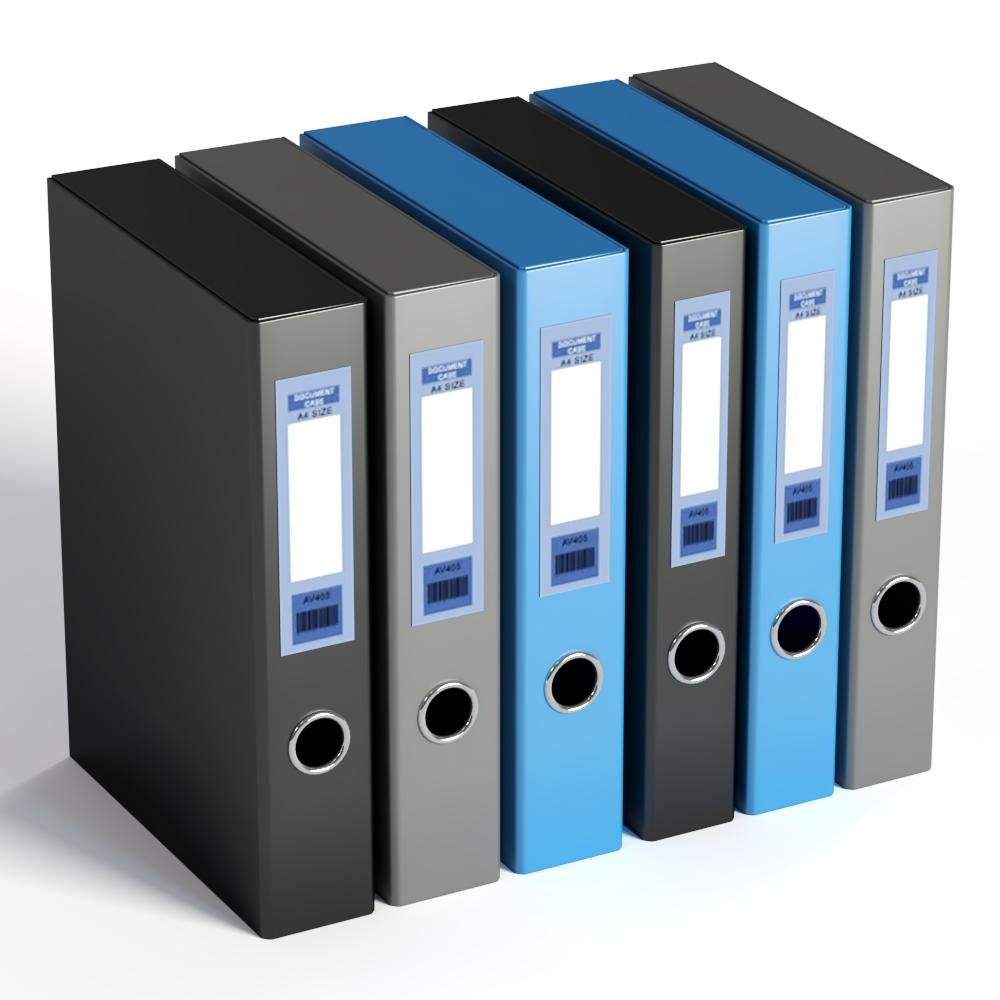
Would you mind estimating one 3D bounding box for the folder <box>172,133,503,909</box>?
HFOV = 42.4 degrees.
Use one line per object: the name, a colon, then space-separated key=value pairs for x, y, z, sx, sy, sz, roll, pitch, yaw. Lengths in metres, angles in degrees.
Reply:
folder: x=-0.116 y=0.016 z=1.145 sx=0.122 sy=0.669 sz=0.346 roll=-9 pitch=12 yaw=-31
